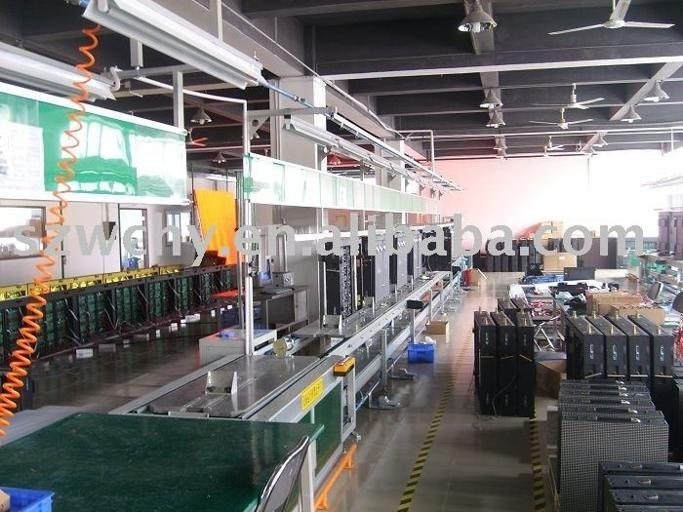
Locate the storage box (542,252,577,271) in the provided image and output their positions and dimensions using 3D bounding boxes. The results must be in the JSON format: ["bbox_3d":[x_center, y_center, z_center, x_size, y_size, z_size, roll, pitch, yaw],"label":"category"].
[{"bbox_3d":[6.397,0.137,15.020,0.639,0.385,0.346,0,-2,31],"label":"storage box"}]

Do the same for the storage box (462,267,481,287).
[{"bbox_3d":[3.910,0.603,15.346,0.654,0.610,0.347,0,1,0],"label":"storage box"}]

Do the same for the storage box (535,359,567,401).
[{"bbox_3d":[2.489,1.443,6.126,0.317,0.384,0.488,0,2,21],"label":"storage box"}]

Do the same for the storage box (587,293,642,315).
[{"bbox_3d":[3.474,0.565,6.623,0.584,0.338,0.576,-1,-1,16],"label":"storage box"}]

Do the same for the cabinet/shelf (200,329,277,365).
[{"bbox_3d":[-0.883,0.718,4.329,0.478,0.285,0.588,0,2,16],"label":"cabinet/shelf"}]

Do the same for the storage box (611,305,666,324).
[{"bbox_3d":[3.541,0.680,6.144,0.565,0.208,0.824,0,2,22],"label":"storage box"}]

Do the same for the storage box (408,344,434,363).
[{"bbox_3d":[1.153,1.363,7.508,0.291,0.169,0.282,0,3,8],"label":"storage box"}]
